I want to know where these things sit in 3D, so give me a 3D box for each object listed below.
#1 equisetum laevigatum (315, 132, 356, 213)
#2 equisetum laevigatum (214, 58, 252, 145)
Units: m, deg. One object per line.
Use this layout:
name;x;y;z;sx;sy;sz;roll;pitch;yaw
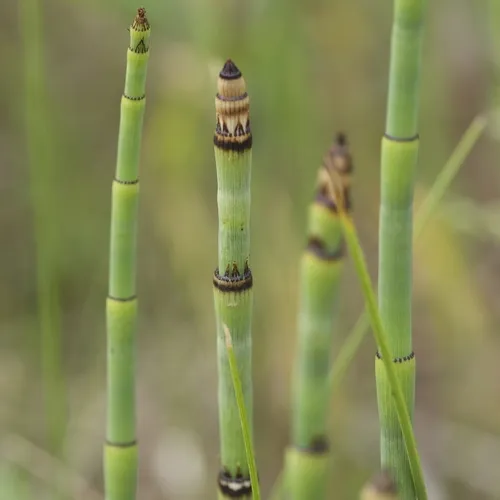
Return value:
equisetum laevigatum;0.052;-0.041;0.446;0.021;0.025;0.074;6;-99;-12
equisetum laevigatum;-0.010;-0.074;0.444;0.020;0.022;0.086;-1;-81;9
